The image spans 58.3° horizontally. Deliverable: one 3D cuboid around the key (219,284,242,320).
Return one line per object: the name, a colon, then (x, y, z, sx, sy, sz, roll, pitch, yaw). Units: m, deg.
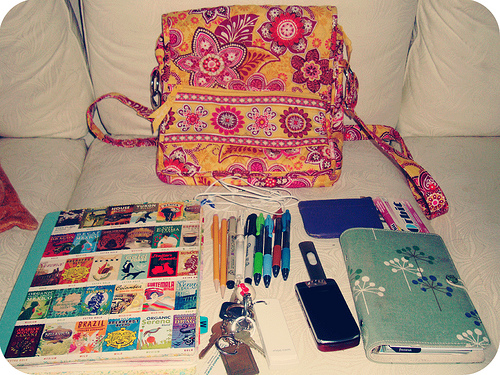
key: (-0.034, 0.246, 0.964, 0.047, 0.039, 0.078, 2, 18, 23)

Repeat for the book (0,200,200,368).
book: (-0.316, 0.195, 1.009, 0.406, 0.233, 0.348, -5, 17, 0)

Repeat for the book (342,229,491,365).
book: (0.350, 0.229, 0.979, 0.248, 0.216, 0.231, -5, 17, 1)

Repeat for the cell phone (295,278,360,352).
cell phone: (0.160, 0.265, 0.960, 0.102, 0.033, 0.167, -3, 35, -16)
